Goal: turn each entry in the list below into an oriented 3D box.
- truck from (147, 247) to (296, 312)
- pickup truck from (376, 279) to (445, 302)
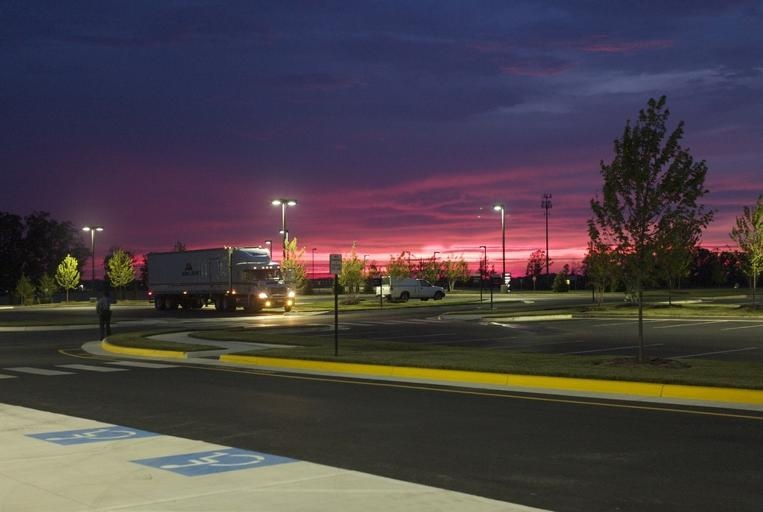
[{"bbox_3d":[-11.341,1.778,53.708,12.372,3.852,3.642,-2,-4,39],"label":"truck"},{"bbox_3d":[2.392,2.991,66.197,4.622,1.461,2.395,-1,1,-27],"label":"pickup truck"}]
